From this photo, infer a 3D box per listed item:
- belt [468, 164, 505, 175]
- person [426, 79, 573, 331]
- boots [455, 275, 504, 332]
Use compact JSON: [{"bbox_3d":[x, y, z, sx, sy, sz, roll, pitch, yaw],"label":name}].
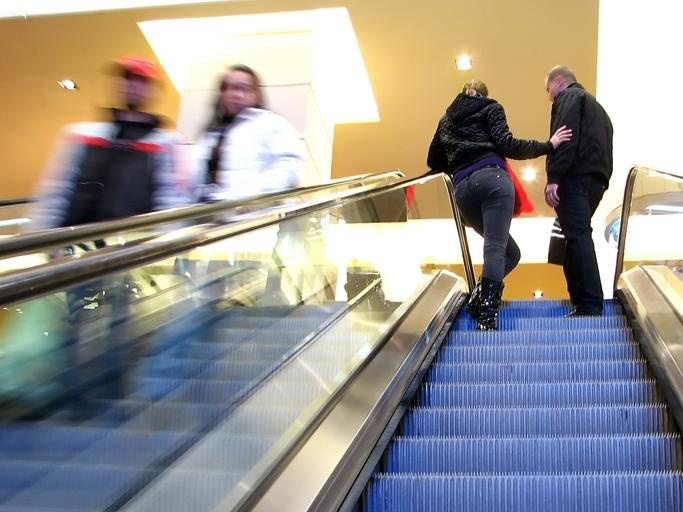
[{"bbox_3d":[1.264,-0.758,3.609,0.165,0.040,0.158,-23,-1,-40],"label":"belt"},{"bbox_3d":[1.464,-0.541,3.878,1.386,2.358,1.014,-7,-15,37],"label":"person"},{"bbox_3d":[1.190,0.391,3.469,0.290,0.421,0.274,-1,10,18],"label":"boots"}]
